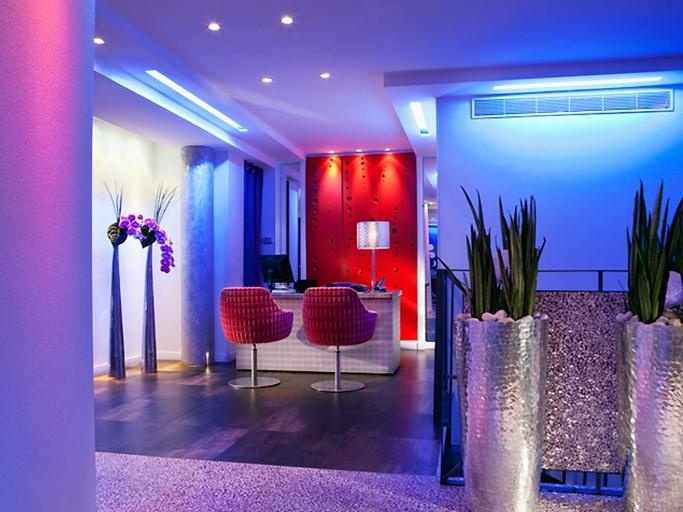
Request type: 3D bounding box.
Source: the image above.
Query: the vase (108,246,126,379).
[{"bbox_3d":[-2.579,0.632,6.065,0.174,1.470,0.265,1,-2,-23],"label":"vase"}]

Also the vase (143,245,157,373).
[{"bbox_3d":[-2.347,0.620,6.455,0.175,1.542,0.333,1,-2,-21],"label":"vase"}]

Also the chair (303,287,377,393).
[{"bbox_3d":[-0.022,0.839,5.473,0.707,1.053,0.583,0,-2,8],"label":"chair"}]

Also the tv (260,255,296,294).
[{"bbox_3d":[-0.841,0.233,6.838,0.428,0.471,0.219,2,9,23],"label":"tv"}]
